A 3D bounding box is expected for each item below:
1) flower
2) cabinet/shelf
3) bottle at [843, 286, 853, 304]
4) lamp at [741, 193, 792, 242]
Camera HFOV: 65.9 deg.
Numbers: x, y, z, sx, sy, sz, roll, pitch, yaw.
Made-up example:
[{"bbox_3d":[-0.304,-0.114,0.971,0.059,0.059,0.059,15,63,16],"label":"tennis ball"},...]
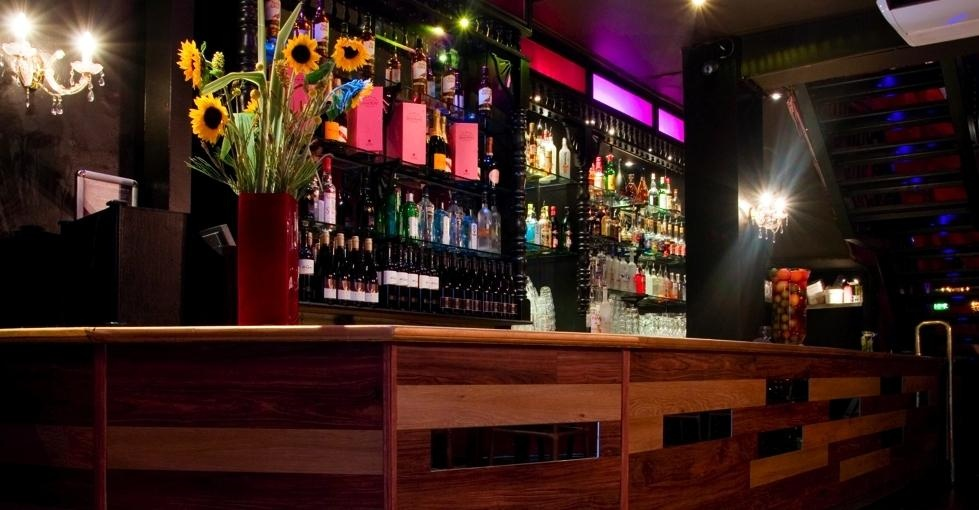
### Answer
[{"bbox_3d":[-1.493,-1.010,5.026,1.094,1.333,1.287,6,-7,-28],"label":"flower"},{"bbox_3d":[-0.170,-0.821,6.886,3.966,1.736,0.528,6,-12,-39],"label":"cabinet/shelf"},{"bbox_3d":[4.316,0.469,9.116,0.102,0.198,0.511,-1,-6,25],"label":"bottle"},{"bbox_3d":[3.063,-0.461,8.332,0.817,0.427,0.924,0,4,13],"label":"lamp"}]
